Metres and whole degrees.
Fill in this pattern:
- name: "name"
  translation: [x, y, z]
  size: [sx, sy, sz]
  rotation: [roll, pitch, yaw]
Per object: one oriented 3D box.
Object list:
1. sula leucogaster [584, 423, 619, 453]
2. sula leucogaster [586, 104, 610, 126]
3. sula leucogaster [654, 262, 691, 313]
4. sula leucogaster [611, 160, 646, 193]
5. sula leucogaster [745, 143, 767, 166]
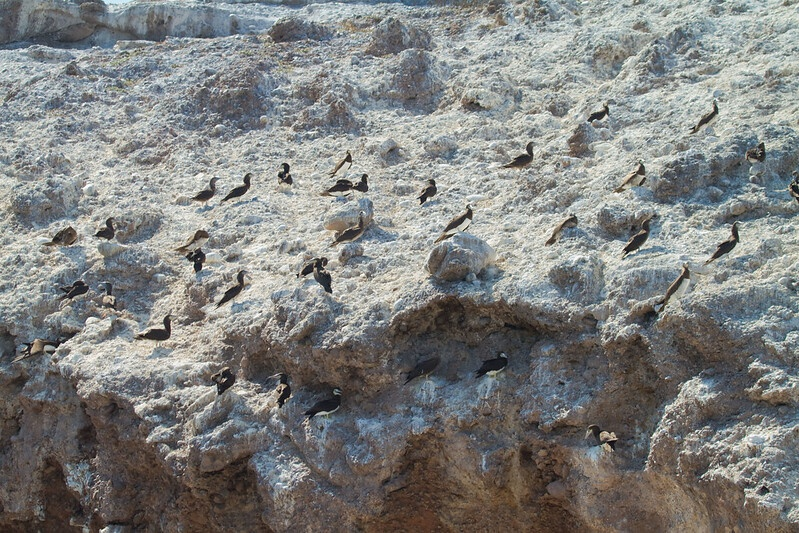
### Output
- name: "sula leucogaster"
  translation: [4.413, 3.740, 43.034]
  size: [0.392, 0.773, 0.477]
  rotation: [26, 60, -32]
- name: "sula leucogaster"
  translation: [4.770, -3.585, 47.310]
  size: [0.463, 0.246, 0.733]
  rotation: [-6, 30, 42]
- name: "sula leucogaster"
  translation: [6.014, 0.534, 42.933]
  size: [0.993, 0.887, 0.411]
  rotation: [-31, 47, -31]
- name: "sula leucogaster"
  translation: [5.309, -1.962, 45.033]
  size: [0.774, 0.662, 0.303]
  rotation: [-13, 40, -14]
- name: "sula leucogaster"
  translation: [8.044, -2.486, 44.479]
  size: [0.441, 0.395, 0.356]
  rotation: [-2, 39, 0]
